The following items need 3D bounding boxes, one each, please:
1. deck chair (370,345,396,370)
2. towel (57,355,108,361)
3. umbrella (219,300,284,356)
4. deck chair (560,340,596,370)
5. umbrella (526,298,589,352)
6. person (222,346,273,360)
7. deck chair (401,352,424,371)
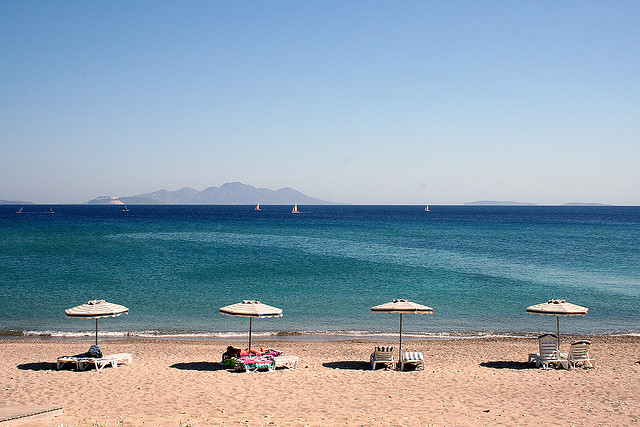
[{"bbox_3d":[3.171,6.978,33.835,1.262,1.082,0.927,1,12,3],"label":"deck chair"},{"bbox_3d":[-11.278,6.820,32.633,2.219,0.147,0.537,2,9,11],"label":"towel"},{"bbox_3d":[-3.438,5.440,33.633,3.807,2.218,3.115,3,-7,-15],"label":"umbrella"},{"bbox_3d":[12.755,6.708,33.932,1.281,0.780,1.470,6,-7,6],"label":"deck chair"},{"bbox_3d":[11.752,5.307,33.699,3.219,1.945,2.624,4,-10,-15],"label":"umbrella"},{"bbox_3d":[-3.664,6.782,33.816,1.871,0.396,0.815,-1,0,-5],"label":"person"},{"bbox_3d":[4.592,7.178,33.738,1.161,0.665,0.958,1,10,-1],"label":"deck chair"}]
